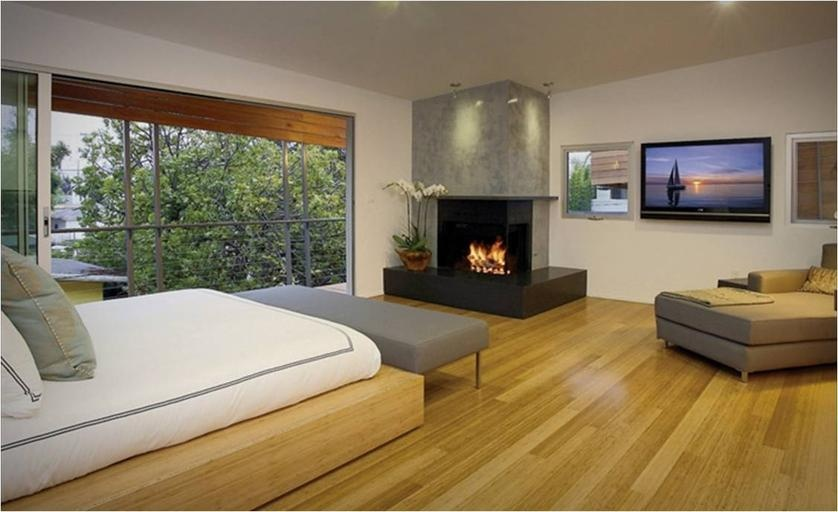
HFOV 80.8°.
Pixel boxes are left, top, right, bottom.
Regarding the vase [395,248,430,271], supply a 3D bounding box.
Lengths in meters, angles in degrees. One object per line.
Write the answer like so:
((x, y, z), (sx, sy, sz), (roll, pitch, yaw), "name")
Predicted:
((-0.090, 0.063, 7.400), (0.392, 0.231, 0.374), (2, -6, -22), "vase")

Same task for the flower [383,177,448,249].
((-0.036, -0.631, 7.486), (0.652, 1.074, 0.750), (-8, 9, -40), "flower")

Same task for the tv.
((3.668, -0.967, 6.188), (1.297, 0.867, 0.055), (1, 5, 38), "tv")
